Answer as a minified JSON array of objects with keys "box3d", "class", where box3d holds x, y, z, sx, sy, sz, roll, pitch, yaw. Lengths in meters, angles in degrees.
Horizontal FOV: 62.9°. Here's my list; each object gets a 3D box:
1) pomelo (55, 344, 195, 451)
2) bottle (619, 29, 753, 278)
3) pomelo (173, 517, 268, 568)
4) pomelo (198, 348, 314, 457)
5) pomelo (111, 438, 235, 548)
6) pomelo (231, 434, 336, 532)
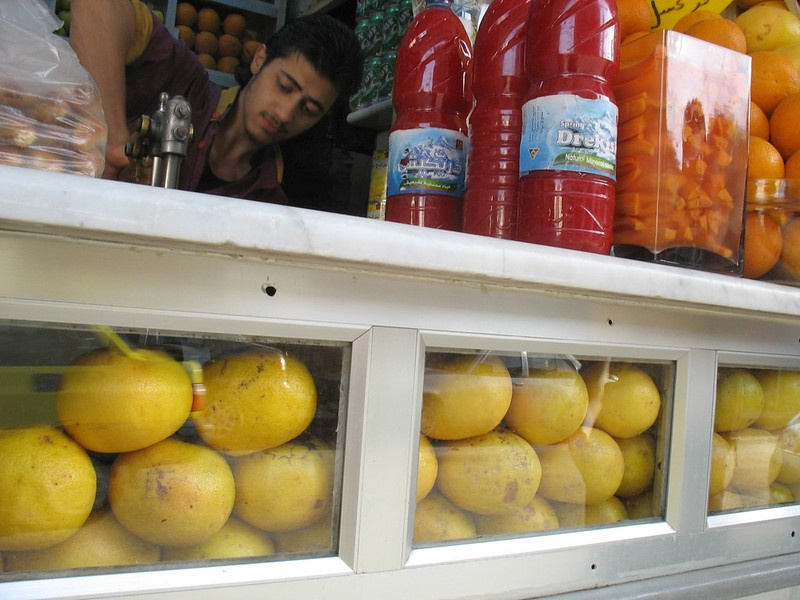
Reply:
[{"box3d":[-0.290,0.092,0.693,0.108,0.092,0.088,-7,5,-18],"class":"pomelo"},{"box3d":[0.435,-0.225,0.993,0.222,0.341,0.135,3,11,-12],"class":"bottle"},{"box3d":[-0.185,0.250,0.690,0.061,0.037,0.051,1,-10,-8],"class":"pomelo"},{"box3d":[-0.153,0.107,0.701,0.114,0.094,0.091,-2,-22,-16],"class":"pomelo"},{"box3d":[-0.241,0.196,0.715,0.107,0.089,0.103,8,-6,0],"class":"pomelo"},{"box3d":[-0.121,0.202,0.713,0.099,0.085,0.079,-6,-29,-1],"class":"pomelo"}]
